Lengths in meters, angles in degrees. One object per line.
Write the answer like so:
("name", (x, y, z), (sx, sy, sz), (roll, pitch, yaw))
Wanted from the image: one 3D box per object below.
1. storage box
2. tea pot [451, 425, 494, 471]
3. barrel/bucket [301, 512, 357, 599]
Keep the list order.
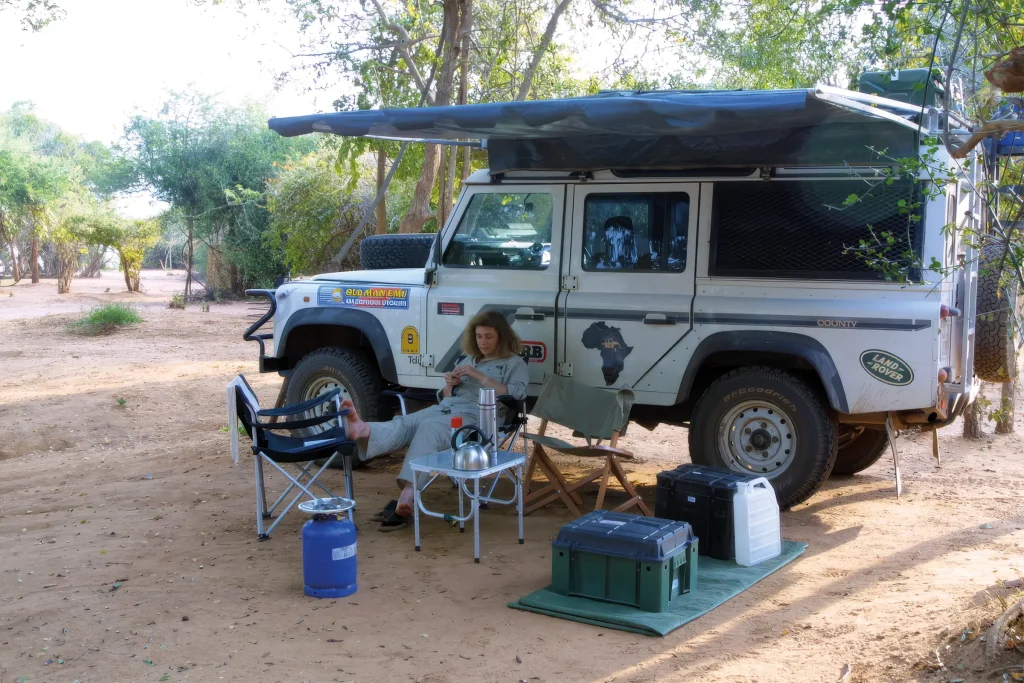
("storage box", (1.231, 1.492, 6.911), (1.850, 0.663, 0.804), (-8, 13, -37))
("tea pot", (-0.316, 0.861, 7.170), (0.331, 0.323, 0.312), (-1, 5, 0))
("barrel/bucket", (-1.368, 1.596, 6.751), (0.443, 0.613, 0.424), (-1, 3, 0))
